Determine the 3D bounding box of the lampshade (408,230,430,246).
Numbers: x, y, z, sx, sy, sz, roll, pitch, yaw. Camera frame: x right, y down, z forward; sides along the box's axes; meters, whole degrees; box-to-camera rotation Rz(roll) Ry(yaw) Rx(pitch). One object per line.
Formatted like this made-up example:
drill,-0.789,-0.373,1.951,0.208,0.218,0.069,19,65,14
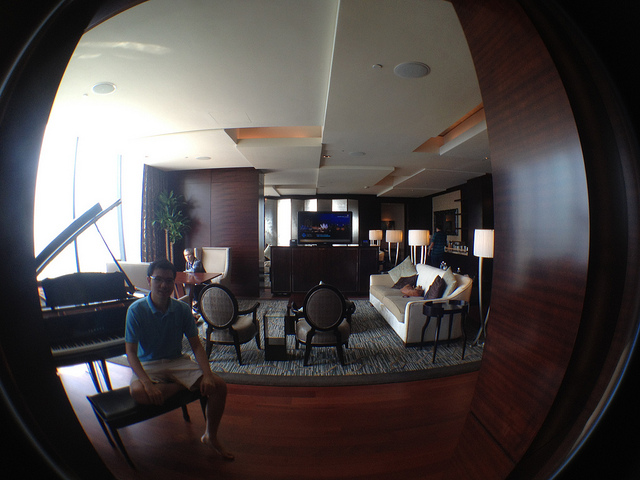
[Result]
lampshade,1.466,-0.042,6.088,0.229,0.181,0.237,-2,4,-20

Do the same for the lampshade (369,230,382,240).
lampshade,1.301,-0.132,9.542,0.213,0.167,0.219,0,-2,39

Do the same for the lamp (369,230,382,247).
lamp,1.223,-0.095,9.505,0.226,0.388,0.225,-1,4,-19

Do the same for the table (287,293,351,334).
table,-0.010,0.900,4.843,0.874,0.548,0.916,-5,-15,4

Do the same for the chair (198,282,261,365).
chair,-0.857,0.734,3.927,0.486,0.782,0.530,1,10,13

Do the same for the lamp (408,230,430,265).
lamp,1.508,0.066,6.129,0.210,0.379,0.219,3,11,9

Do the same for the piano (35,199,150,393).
piano,-1.651,0.426,2.964,0.647,1.408,0.741,-3,11,-25

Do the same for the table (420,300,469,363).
table,1.254,0.850,4.005,0.518,0.473,0.519,1,10,-7

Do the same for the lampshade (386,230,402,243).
lampshade,1.404,-0.106,7.805,0.227,0.186,0.234,-5,-10,35

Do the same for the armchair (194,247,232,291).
armchair,-1.627,0.438,6.652,0.548,0.877,0.606,-2,2,-2

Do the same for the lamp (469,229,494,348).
lamp,1.698,0.486,4.278,0.247,1.174,0.249,1,0,43

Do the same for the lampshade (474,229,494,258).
lampshade,1.644,0.042,4.164,0.175,0.312,0.371,6,11,21

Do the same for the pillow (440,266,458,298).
pillow,1.369,0.444,4.399,0.077,0.278,0.256,24,-31,-5

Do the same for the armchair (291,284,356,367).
armchair,0.022,0.723,3.773,0.520,0.700,0.403,2,10,-1

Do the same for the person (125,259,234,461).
person,-0.886,0.717,2.540,0.619,1.251,0.621,-9,-11,9
